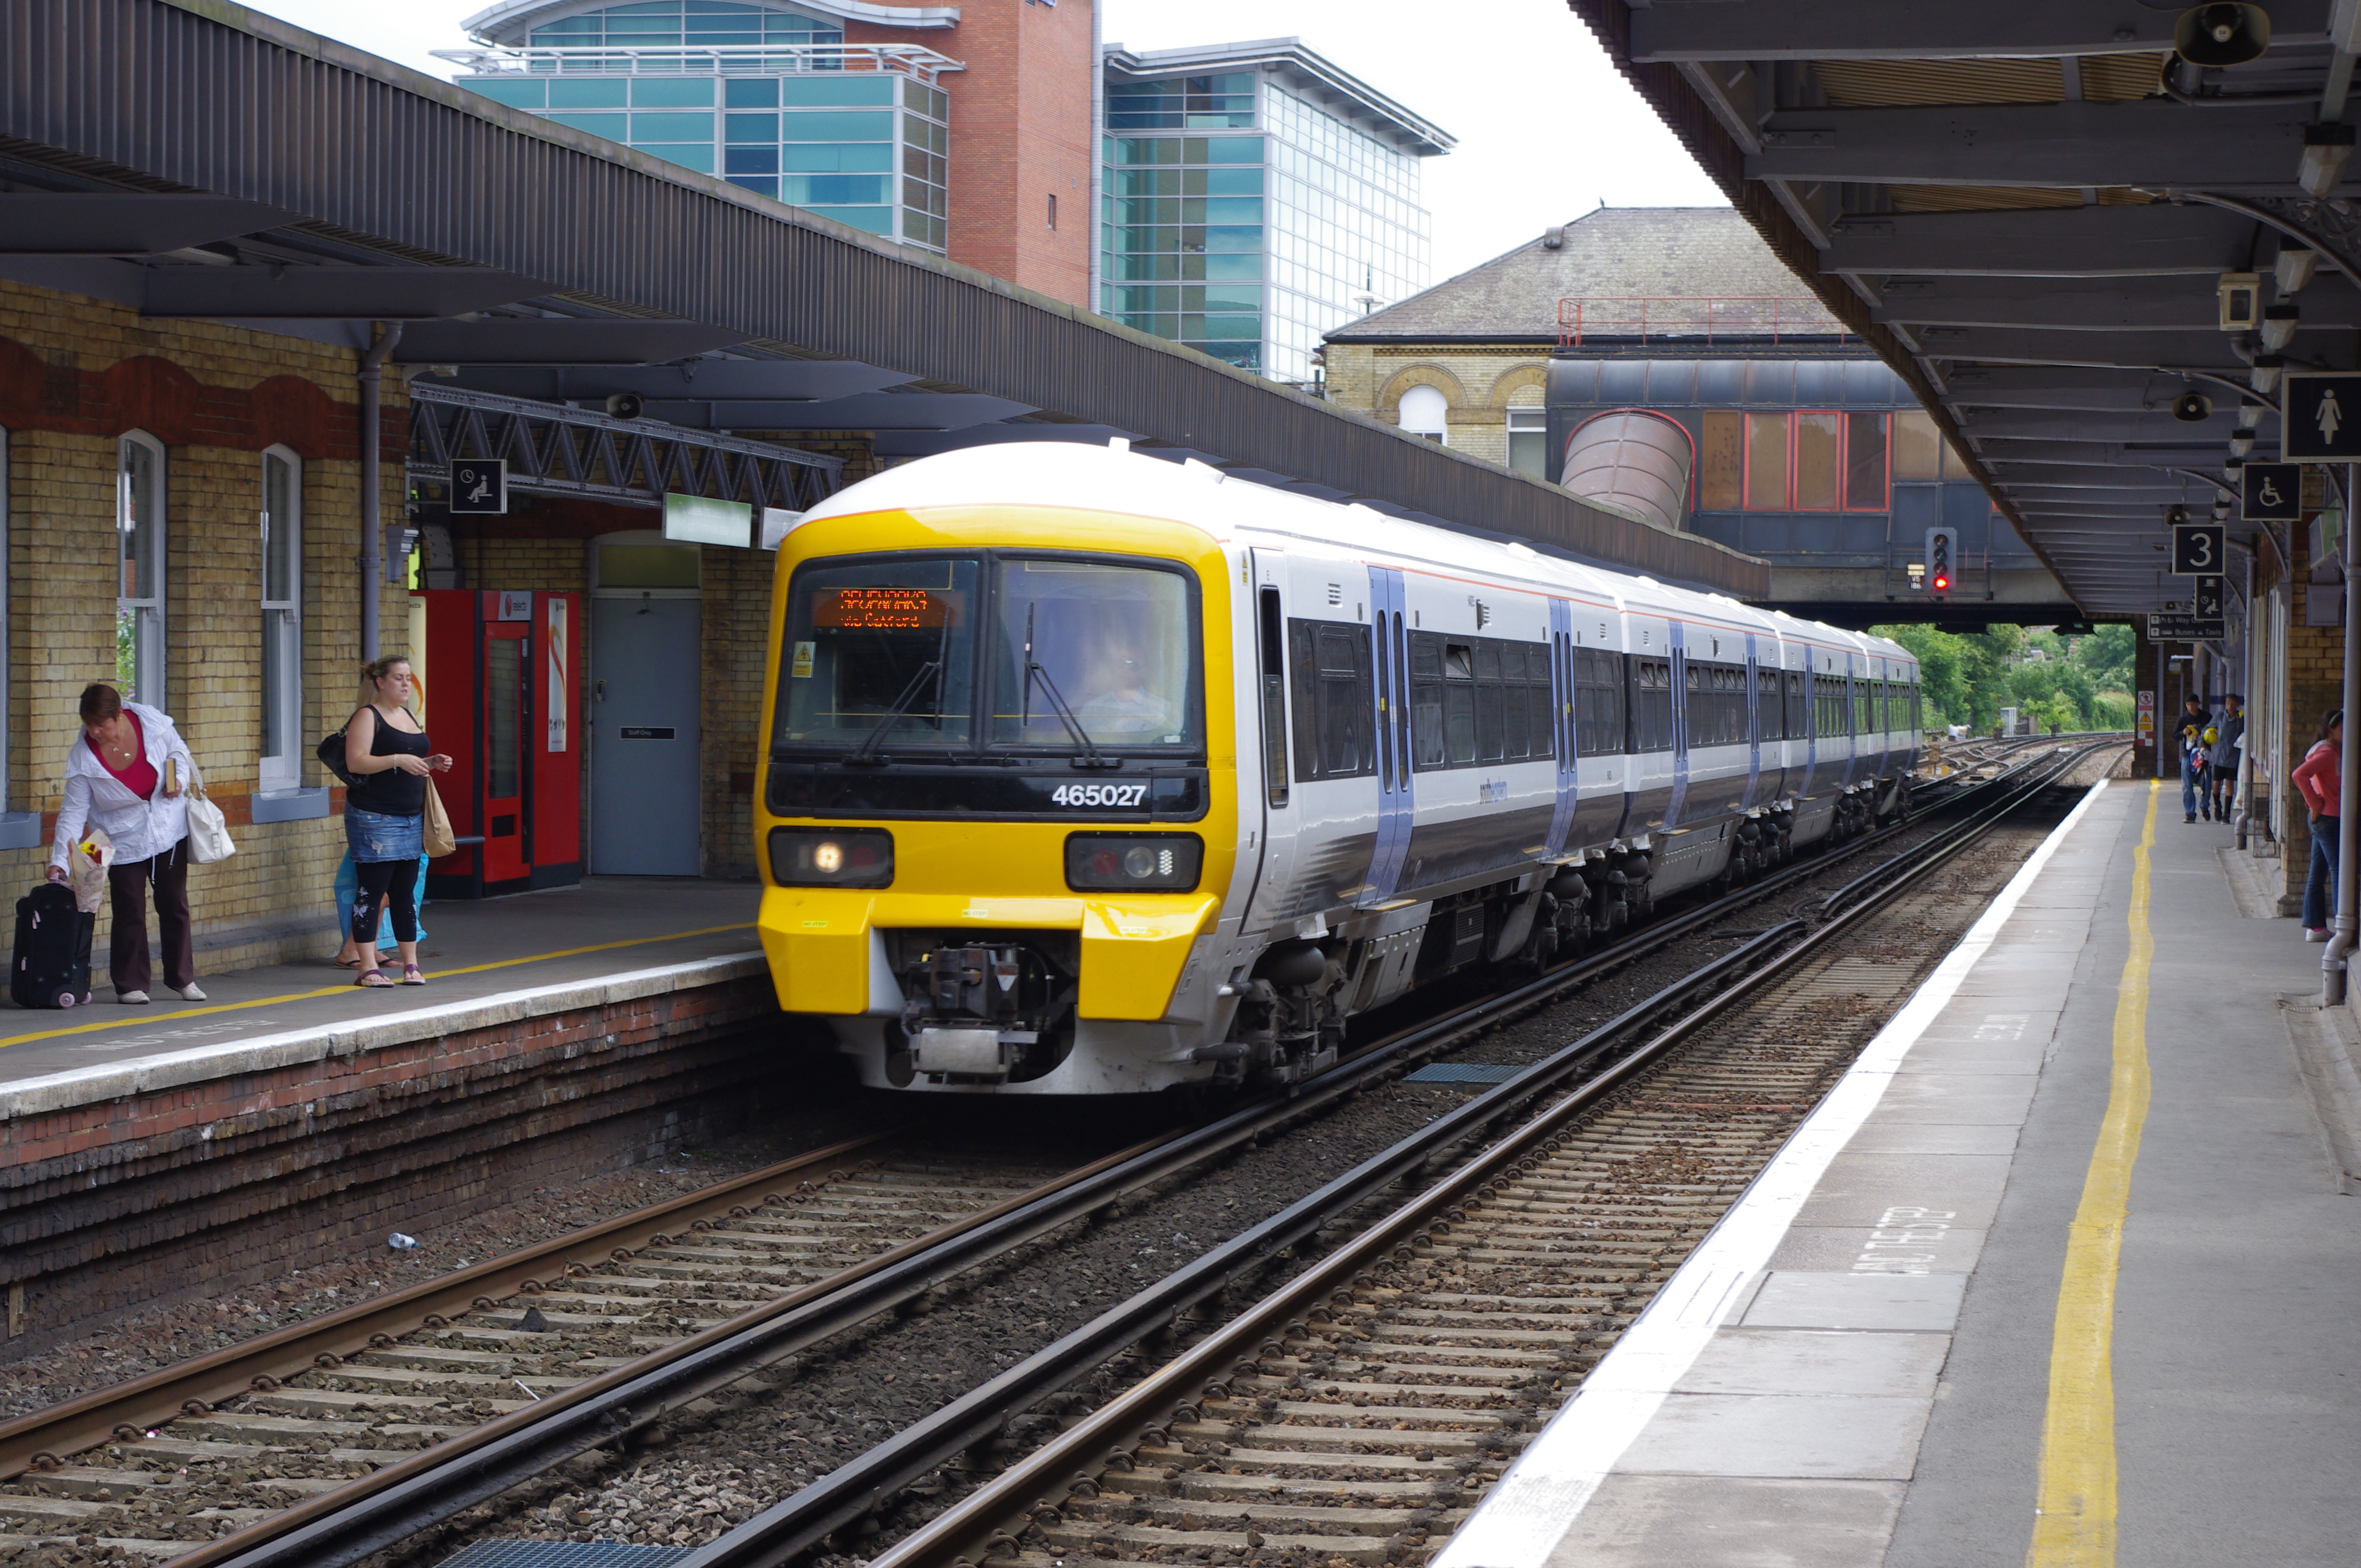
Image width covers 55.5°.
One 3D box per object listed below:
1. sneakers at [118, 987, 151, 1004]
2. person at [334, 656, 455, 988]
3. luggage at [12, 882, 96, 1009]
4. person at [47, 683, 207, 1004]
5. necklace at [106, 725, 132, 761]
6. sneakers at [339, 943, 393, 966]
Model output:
[{"bbox_3d":[-5.883,1.195,12.624,0.153,0.072,0.140,-3,3,-25],"label":"sneakers"},{"bbox_3d":[-4.769,0.214,13.600,0.586,1.962,0.841,-4,3,-20],"label":"person"},{"bbox_3d":[-6.271,0.887,12.401,0.463,0.699,0.226,-3,3,-12],"label":"luggage"},{"bbox_3d":[-5.903,0.344,12.637,0.509,1.806,0.902,-2,3,15],"label":"person"},{"bbox_3d":[-5.910,-0.225,12.518,0.149,0.182,0.067,-5,23,-34],"label":"necklace"},{"bbox_3d":[-5.062,1.063,13.934,0.232,0.154,0.624,1,-2,-38],"label":"sneakers"}]
